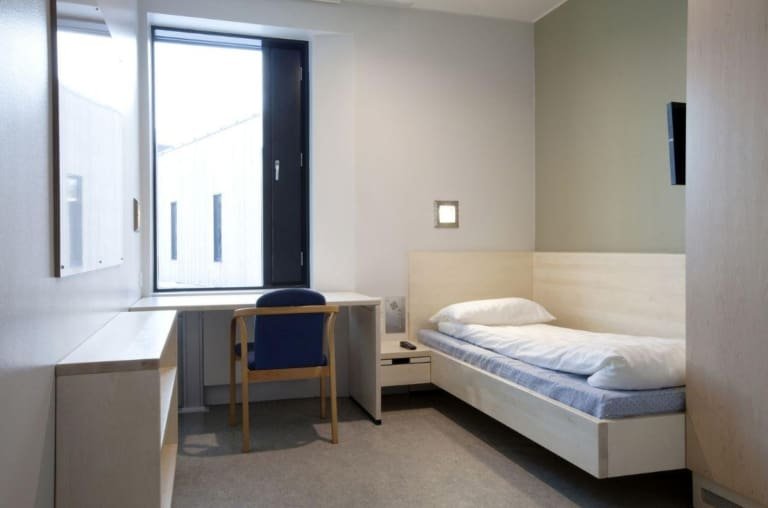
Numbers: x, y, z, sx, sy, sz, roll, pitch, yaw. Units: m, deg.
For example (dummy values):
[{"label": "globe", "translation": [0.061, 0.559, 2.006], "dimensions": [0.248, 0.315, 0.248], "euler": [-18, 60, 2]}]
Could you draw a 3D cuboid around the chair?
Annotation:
[{"label": "chair", "translation": [-0.746, 0.778, 3.939], "dimensions": [0.845, 1.099, 0.803], "euler": [2, 2, 0]}]

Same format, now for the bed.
[{"label": "bed", "translation": [1.262, 0.528, 4.048], "dimensions": [1.314, 1.110, 2.367], "euler": [-3, 6, -25]}]
